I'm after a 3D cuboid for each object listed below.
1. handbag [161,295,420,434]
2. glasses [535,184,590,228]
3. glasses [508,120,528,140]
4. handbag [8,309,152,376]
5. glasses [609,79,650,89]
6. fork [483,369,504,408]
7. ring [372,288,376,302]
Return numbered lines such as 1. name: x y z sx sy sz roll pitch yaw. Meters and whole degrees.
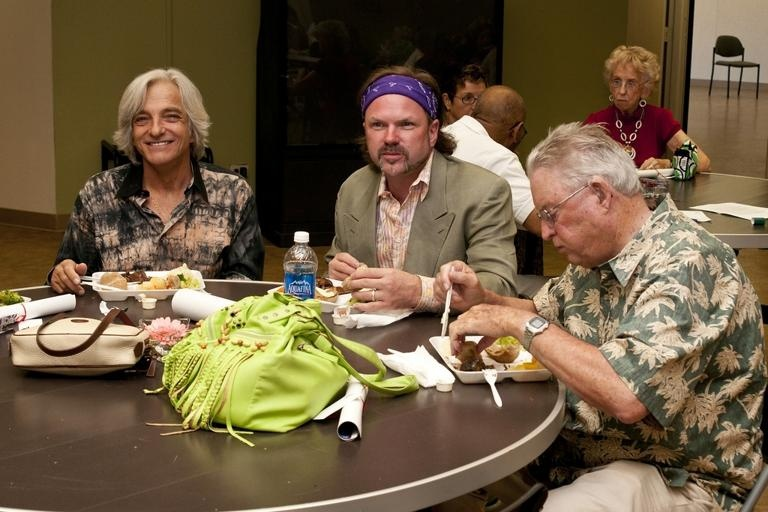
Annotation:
1. handbag: -0.296 0.201 1.389 0.448 0.202 0.373 -2 8 -32
2. glasses: 0.528 -0.153 1.632 0.113 0.036 0.109 -39 3 -3
3. glasses: 0.875 -0.833 3.695 0.142 0.052 0.140 17 23 23
4. handbag: -0.847 0.212 1.533 0.291 0.148 0.208 3 -3 -3
5. glasses: 2.171 -1.546 4.872 0.290 0.085 0.109 6 13 25
6. fork: 0.305 0.365 1.518 0.025 0.013 0.105 -3 43 -8
7. ring: -0.041 0.140 2.005 0.013 0.036 0.026 5 -6 -7
